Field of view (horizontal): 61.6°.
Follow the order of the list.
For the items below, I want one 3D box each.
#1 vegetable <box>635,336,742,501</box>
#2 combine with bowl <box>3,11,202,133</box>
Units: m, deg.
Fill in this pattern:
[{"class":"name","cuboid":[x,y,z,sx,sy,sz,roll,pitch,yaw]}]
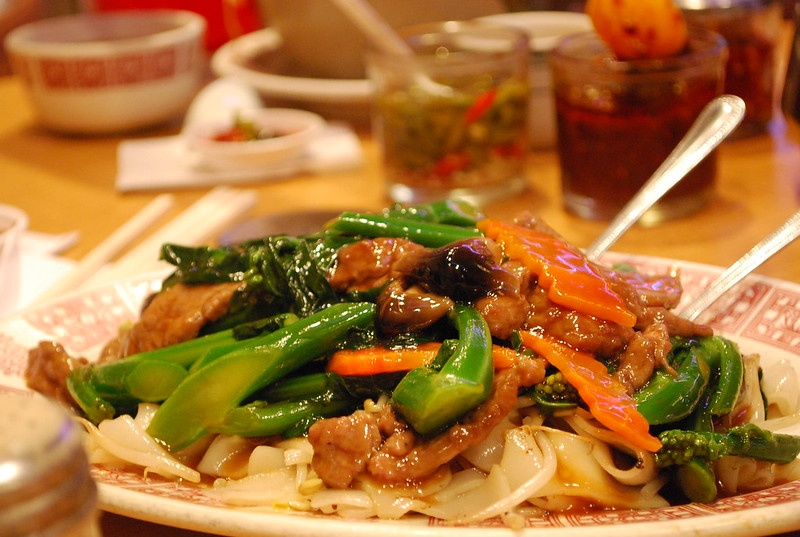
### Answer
[{"class":"vegetable","cuboid":[0.889,0.448,2.096,0.307,0.127,0.482,23,48,-4]},{"class":"combine with bowl","cuboid":[-1.656,-0.943,3.608,0.784,0.402,0.796,14,24,37]}]
